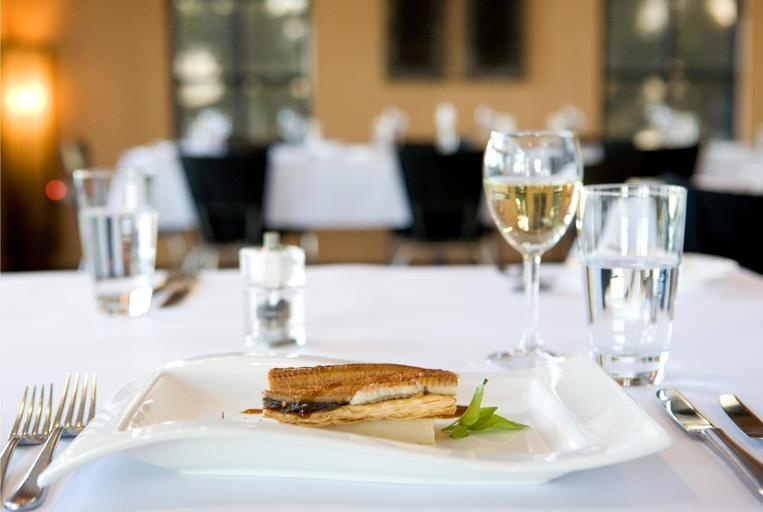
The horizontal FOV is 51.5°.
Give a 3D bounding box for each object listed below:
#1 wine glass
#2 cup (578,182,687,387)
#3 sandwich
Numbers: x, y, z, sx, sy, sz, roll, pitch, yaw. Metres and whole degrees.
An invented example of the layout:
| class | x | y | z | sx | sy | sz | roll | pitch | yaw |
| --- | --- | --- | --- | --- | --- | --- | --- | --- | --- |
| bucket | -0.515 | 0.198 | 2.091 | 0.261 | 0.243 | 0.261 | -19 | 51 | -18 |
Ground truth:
| class | x | y | z | sx | sy | sz | roll | pitch | yaw |
| --- | --- | --- | --- | --- | --- | --- | --- | --- | --- |
| wine glass | 0.177 | -0.010 | 0.942 | 0.116 | 0.267 | 0.152 | 1 | 14 | 9 |
| cup | 0.273 | 0.025 | 0.903 | 0.099 | 0.218 | 0.131 | -6 | 14 | -20 |
| sandwich | -0.022 | 0.129 | 0.721 | 0.133 | 0.036 | 0.074 | 0 | 5 | 0 |
